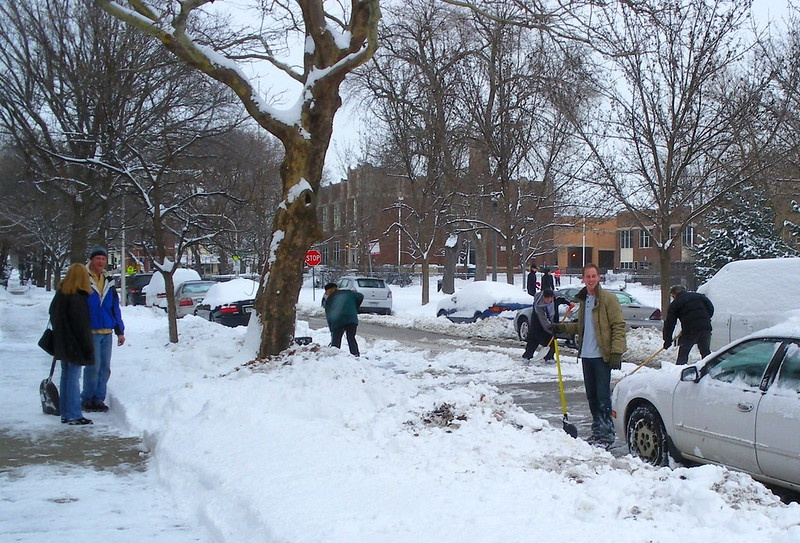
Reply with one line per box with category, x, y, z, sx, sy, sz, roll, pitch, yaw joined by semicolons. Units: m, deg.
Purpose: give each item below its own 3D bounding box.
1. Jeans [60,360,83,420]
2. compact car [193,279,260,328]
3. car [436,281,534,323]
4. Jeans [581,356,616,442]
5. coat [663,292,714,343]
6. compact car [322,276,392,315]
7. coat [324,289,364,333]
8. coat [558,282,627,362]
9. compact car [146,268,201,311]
Jeans;-5.303;1.867;12.392;0.248;1.187;0.257;-8;-7;27
compact car;-5.443;1.210;24.402;1.489;1.212;3.347;0;2;-24
car;2.705;1.011;25.608;1.213;0.974;2.585;-1;3;-28
Jeans;3.059;1.964;11.780;0.485;1.292;0.549;0;0;15
coat;5.696;0.905;14.974;0.968;0.933;0.549;-8;-20;0
compact car;-1.361;1.000;33.013;1.247;1.247;2.356;0;6;-18
coat;-1.216;0.871;17.024;0.845;0.936;0.515;-6;-7;-10
coat;2.998;0.743;12.408;0.888;1.806;1.282;2;-8;-13
compact car;-10.127;1.295;34.035;2.184;2.262;4.179;-1;3;-16
